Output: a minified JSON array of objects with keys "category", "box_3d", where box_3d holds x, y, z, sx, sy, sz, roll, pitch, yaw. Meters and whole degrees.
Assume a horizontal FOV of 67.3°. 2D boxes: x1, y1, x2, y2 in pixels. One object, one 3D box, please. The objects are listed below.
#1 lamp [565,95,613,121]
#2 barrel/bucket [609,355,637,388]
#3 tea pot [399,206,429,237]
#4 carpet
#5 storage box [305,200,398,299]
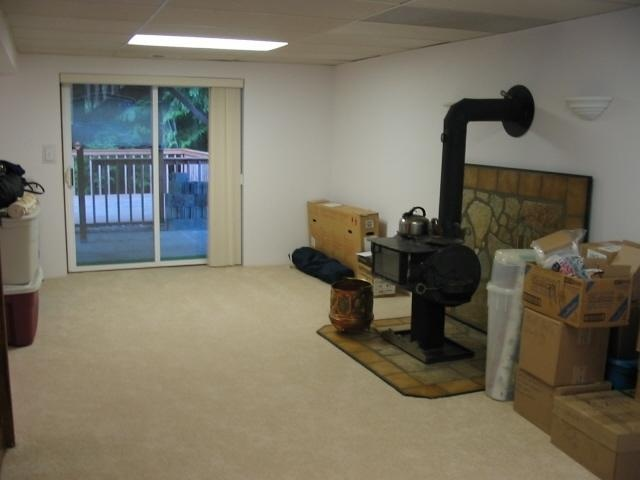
[{"category":"lamp","box_3d":[2.100,-1.020,3.729,0.189,0.172,0.289,-5,11,-28]},{"category":"barrel/bucket","box_3d":[2.111,0.917,3.397,0.201,0.211,0.194,-1,6,0]},{"category":"tea pot","box_3d":[0.878,-0.165,4.325,0.311,0.278,0.228,1,10,-31]},{"category":"carpet","box_3d":[0.939,1.037,4.488,1.312,0.084,1.543,-6,12,-32]},{"category":"storage box","box_3d":[0.415,0.125,5.960,0.340,0.988,1.051,-7,14,-25]}]
